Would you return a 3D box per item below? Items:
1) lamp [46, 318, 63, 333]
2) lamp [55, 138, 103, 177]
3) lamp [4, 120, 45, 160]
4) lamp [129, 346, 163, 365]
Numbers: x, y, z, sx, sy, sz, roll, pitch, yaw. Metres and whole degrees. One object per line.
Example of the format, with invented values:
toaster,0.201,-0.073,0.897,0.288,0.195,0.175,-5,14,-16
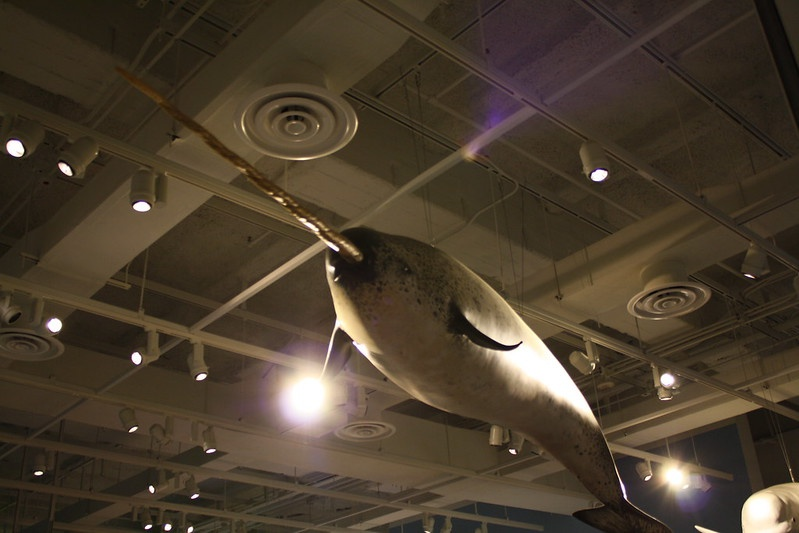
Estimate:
lamp,-3.874,0.642,9.435,0.148,0.171,0.175,-9,-25,17
lamp,-3.097,-1.055,8.096,0.380,0.339,0.253,-37,-50,27
lamp,-3.619,-1.231,8.115,0.338,0.481,0.319,17,-74,-2
lamp,-2.962,1.047,9.830,0.315,0.228,0.136,-5,-14,5
